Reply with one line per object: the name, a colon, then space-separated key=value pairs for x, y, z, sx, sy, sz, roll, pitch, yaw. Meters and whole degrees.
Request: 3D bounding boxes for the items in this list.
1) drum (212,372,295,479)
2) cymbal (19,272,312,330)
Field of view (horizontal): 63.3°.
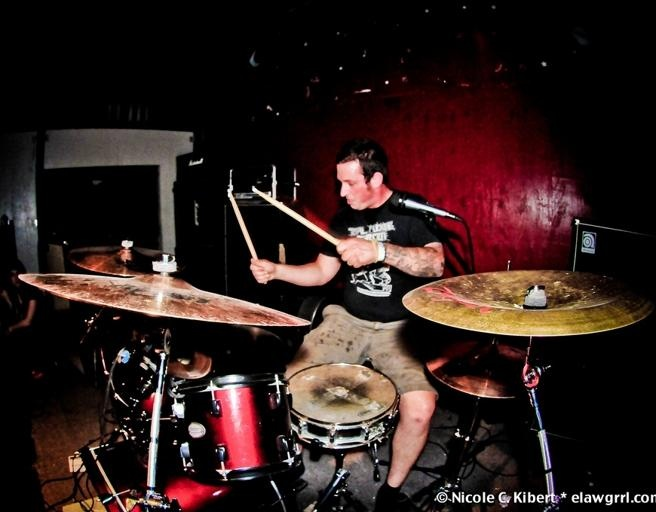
drum: x=-0.352 y=0.851 z=2.787 sx=0.512 sy=0.425 sz=0.479 roll=-8 pitch=-11 yaw=-12
cymbal: x=-0.780 y=0.210 z=2.516 sx=0.642 sy=0.140 sz=0.625 roll=12 pitch=-9 yaw=-6
